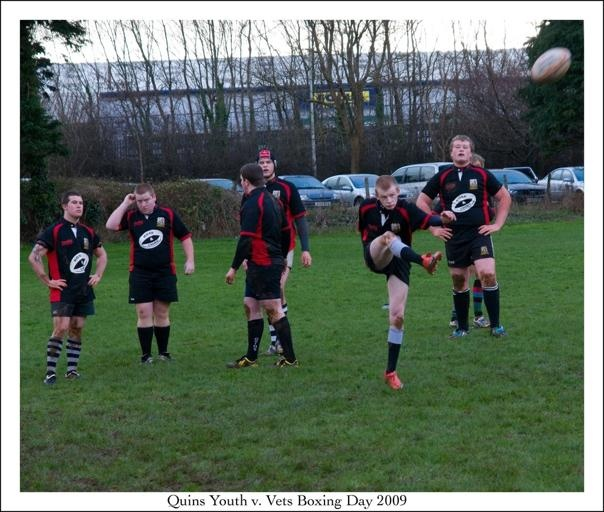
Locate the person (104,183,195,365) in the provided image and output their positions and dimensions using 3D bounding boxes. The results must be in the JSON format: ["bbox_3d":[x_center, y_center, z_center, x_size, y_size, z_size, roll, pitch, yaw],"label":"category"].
[{"bbox_3d":[-1.759,0.196,7.465,0.919,2.062,0.390,-4,8,-22],"label":"person"}]

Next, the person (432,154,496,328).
[{"bbox_3d":[2.213,-0.217,8.543,0.892,2.803,0.702,-2,19,18],"label":"person"}]

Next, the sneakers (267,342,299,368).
[{"bbox_3d":[-0.266,1.192,7.616,0.161,0.236,0.477,-18,28,-38],"label":"sneakers"}]

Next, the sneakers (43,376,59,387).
[{"bbox_3d":[-2.719,1.331,6.889,0.128,0.077,0.179,-6,10,-24],"label":"sneakers"}]

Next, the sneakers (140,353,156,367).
[{"bbox_3d":[-1.810,1.216,7.471,0.094,0.137,0.265,0,-3,-11],"label":"sneakers"}]

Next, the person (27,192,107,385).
[{"bbox_3d":[-2.593,0.313,7.119,0.788,2.030,0.514,-5,8,-27],"label":"person"}]

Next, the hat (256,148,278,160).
[{"bbox_3d":[-0.466,-1.267,7.925,0.227,0.197,0.325,-1,11,0],"label":"hat"}]

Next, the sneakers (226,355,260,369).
[{"bbox_3d":[-0.690,1.197,7.349,0.312,0.169,0.134,2,1,-9],"label":"sneakers"}]

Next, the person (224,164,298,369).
[{"bbox_3d":[-0.465,0.126,7.137,0.757,2.298,0.678,-3,7,-11],"label":"person"}]

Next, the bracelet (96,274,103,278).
[{"bbox_3d":[-2.285,0.226,7.182,0.039,0.024,0.060,3,6,1],"label":"bracelet"}]

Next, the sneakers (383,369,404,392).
[{"bbox_3d":[0.934,1.258,6.501,0.082,0.134,0.269,-8,5,-8],"label":"sneakers"}]

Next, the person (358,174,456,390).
[{"bbox_3d":[1.003,0.236,6.557,0.823,2.133,1.024,-1,7,4],"label":"person"}]
